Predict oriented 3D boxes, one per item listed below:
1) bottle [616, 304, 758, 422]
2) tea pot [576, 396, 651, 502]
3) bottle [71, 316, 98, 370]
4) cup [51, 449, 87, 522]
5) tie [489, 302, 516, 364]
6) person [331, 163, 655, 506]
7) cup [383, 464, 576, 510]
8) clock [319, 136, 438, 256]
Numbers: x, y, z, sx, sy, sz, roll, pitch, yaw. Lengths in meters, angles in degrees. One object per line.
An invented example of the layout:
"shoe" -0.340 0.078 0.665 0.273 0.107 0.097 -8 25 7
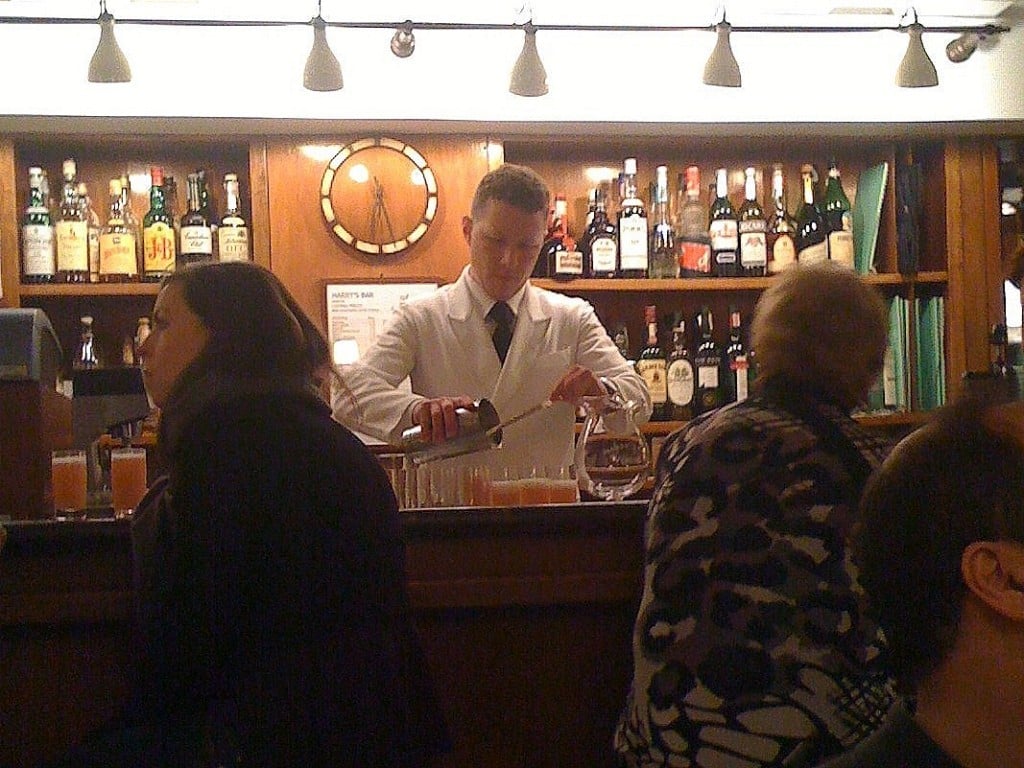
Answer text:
"bottle" 0.583 -0.069 3.247 0.374 0.430 0.094 0 -6 -13
"tea pot" 0.204 0.138 2.174 0.194 0.305 0.200 0 -2 0
"bottle" -1.506 -0.154 3.399 0.087 0.178 0.198 -4 6 -25
"cup" -1.011 0.225 2.194 0.107 0.150 0.109 -3 -2 0
"tie" -0.031 -0.167 2.883 0.059 0.215 0.028 -1 11 1
"person" -0.079 0.145 2.823 0.812 1.522 0.776 2 4 -11
"cup" -0.077 0.221 2.078 0.503 0.135 0.108 0 -6 -18
"clock" -0.492 -0.688 3.431 0.369 0.424 0.027 -1 4 -5
